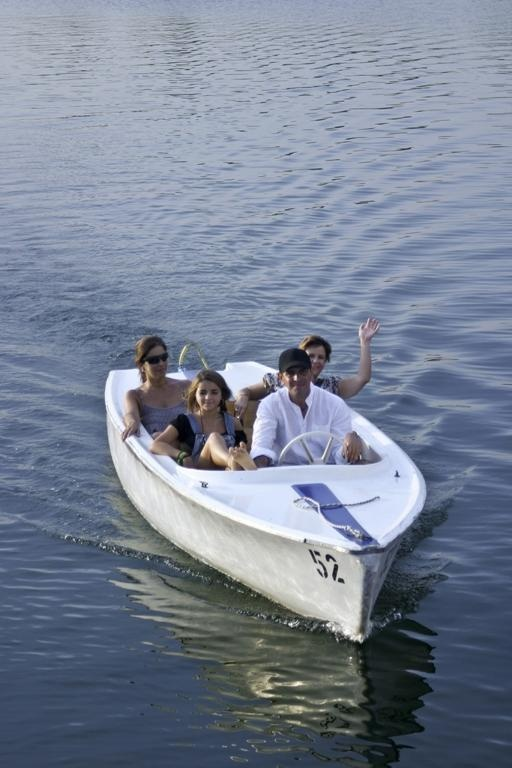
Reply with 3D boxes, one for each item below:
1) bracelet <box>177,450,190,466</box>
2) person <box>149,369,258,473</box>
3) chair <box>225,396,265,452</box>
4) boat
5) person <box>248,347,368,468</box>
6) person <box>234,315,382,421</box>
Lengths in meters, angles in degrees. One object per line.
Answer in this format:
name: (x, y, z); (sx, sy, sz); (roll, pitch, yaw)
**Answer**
bracelet: (-0.468, 0.479, 6.567); (0.078, 0.089, 0.079); (-4, 57, -14)
person: (-0.329, 0.285, 6.755); (0.557, 0.804, 0.449); (-7, 89, -12)
chair: (-0.072, 0.260, 7.420); (0.327, 0.375, 0.319); (-1, 87, -4)
boat: (0.057, 0.670, 6.084); (1.017, 0.487, 1.987); (-11, 24, -23)
person: (0.313, 0.104, 6.508); (0.674, 0.548, 0.801); (-3, 26, -1)
person: (0.337, -0.116, 7.588); (0.788, 0.336, 0.934); (-13, 16, -2)
